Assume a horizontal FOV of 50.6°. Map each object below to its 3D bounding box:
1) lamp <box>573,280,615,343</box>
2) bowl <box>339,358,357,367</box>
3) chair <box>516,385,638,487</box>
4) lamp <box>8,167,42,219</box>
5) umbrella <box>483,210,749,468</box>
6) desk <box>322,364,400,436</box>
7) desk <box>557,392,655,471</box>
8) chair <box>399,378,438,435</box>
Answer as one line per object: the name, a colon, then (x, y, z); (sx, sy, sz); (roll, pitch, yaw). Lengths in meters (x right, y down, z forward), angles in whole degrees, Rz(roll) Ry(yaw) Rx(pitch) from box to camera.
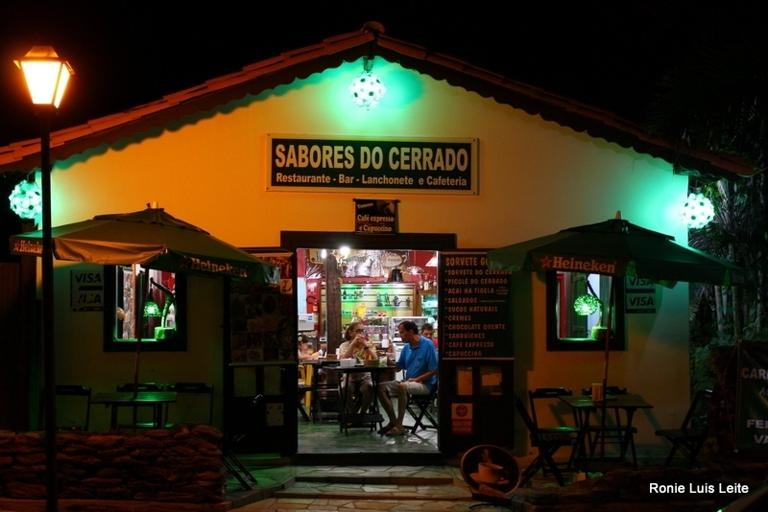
lamp: (3.595, 0.843, 13.928); (0.706, 1.057, 0.358); (4, -3, -8)
bowl: (-0.701, 2.033, 15.443); (0.332, 0.147, 0.763); (1, -6, -3)
chair: (2.720, 2.835, 13.133); (1.442, 2.070, 1.606); (3, -10, -21)
lamp: (-5.844, -0.940, 13.537); (0.527, 0.611, 0.591); (8, 14, 40)
umbrella: (3.488, 1.317, 13.516); (3.689, 3.456, 3.654); (1, -5, 0)
desk: (-0.482, 2.761, 15.591); (1.347, 1.231, 1.327); (2, -14, -4)
desk: (3.494, 2.793, 13.036); (1.394, 1.026, 1.228); (-1, -12, 1)
chair: (0.763, 2.900, 15.781); (0.804, 0.905, 0.974); (0, -6, -9)
